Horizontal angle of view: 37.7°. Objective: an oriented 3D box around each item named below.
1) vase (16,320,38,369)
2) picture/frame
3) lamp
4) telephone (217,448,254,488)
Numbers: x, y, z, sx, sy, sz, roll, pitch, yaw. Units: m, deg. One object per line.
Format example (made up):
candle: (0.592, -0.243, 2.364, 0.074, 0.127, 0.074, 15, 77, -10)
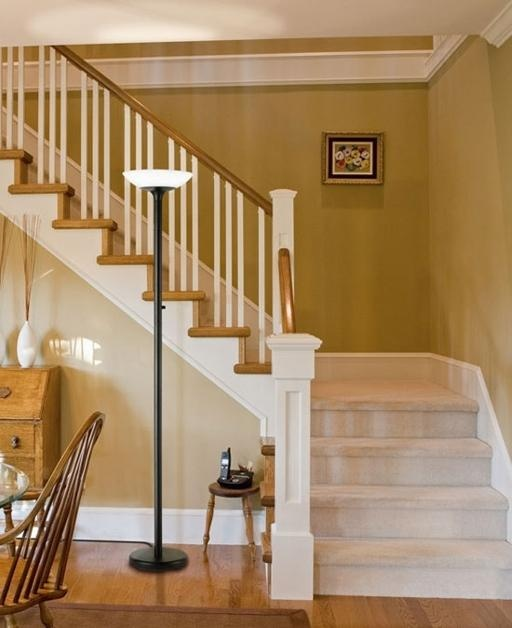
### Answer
vase: (-1.293, 0.174, 4.268, 0.100, 0.247, 0.123, -1, 10, -14)
picture/frame: (0.690, -1.130, 5.420, 0.291, 0.328, 0.027, 0, 0, 1)
lamp: (-0.527, 0.296, 3.996, 0.332, 2.090, 0.654, 0, 9, -10)
telephone: (-0.110, 0.832, 4.060, 0.169, 0.175, 0.198, 3, 10, 9)
